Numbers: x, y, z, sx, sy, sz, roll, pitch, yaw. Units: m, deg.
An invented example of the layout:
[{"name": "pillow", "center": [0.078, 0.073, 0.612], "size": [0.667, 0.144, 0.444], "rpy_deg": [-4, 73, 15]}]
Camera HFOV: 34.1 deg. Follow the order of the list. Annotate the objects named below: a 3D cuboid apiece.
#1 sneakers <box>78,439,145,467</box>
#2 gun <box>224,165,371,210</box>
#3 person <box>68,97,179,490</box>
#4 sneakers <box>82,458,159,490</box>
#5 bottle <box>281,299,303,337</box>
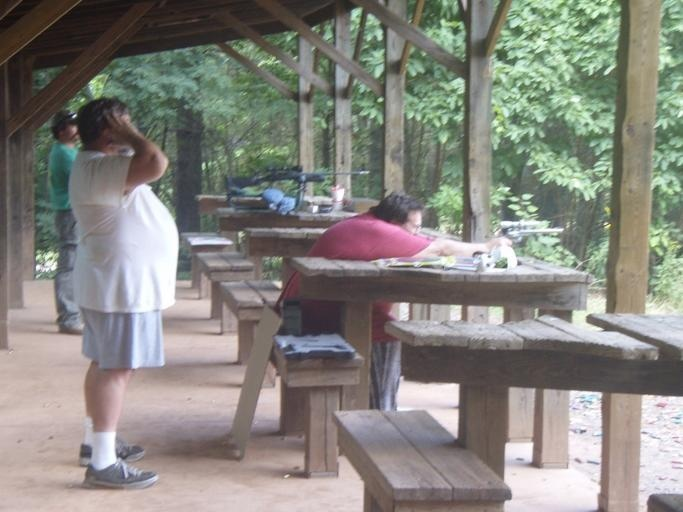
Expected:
[{"name": "sneakers", "center": [-1.872, 1.522, 8.922], "size": [0.563, 0.236, 0.203], "rpy_deg": [-1, 4, -20]}, {"name": "gun", "center": [-0.441, -0.687, 11.549], "size": [1.569, 0.544, 0.132], "rpy_deg": [-5, 26, -18]}, {"name": "person", "center": [-1.690, 0.279, 8.543], "size": [0.822, 2.945, 0.427], "rpy_deg": [0, 5, -9]}, {"name": "sneakers", "center": [-1.700, 1.663, 8.604], "size": [0.600, 0.230, 0.216], "rpy_deg": [1, -2, -6]}, {"name": "bottle", "center": [-0.363, 0.513, 8.987], "size": [0.212, 0.318, 0.219], "rpy_deg": [0, 0, 0]}]
